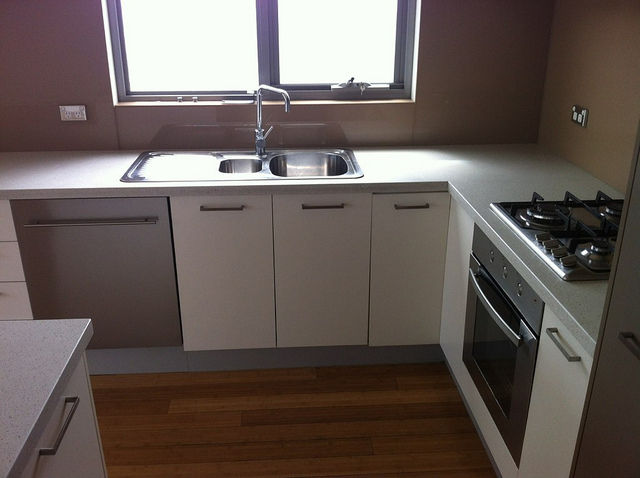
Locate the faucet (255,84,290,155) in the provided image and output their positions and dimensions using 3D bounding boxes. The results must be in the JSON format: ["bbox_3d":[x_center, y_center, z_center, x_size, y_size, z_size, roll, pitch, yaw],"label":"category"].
[{"bbox_3d":[-0.288,-0.708,2.925,0.321,0.484,0.142,30,47,32],"label":"faucet"}]

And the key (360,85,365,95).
[{"bbox_3d":[0.271,-0.941,3.028,0.030,0.044,0.011,-6,16,-14],"label":"key"}]
